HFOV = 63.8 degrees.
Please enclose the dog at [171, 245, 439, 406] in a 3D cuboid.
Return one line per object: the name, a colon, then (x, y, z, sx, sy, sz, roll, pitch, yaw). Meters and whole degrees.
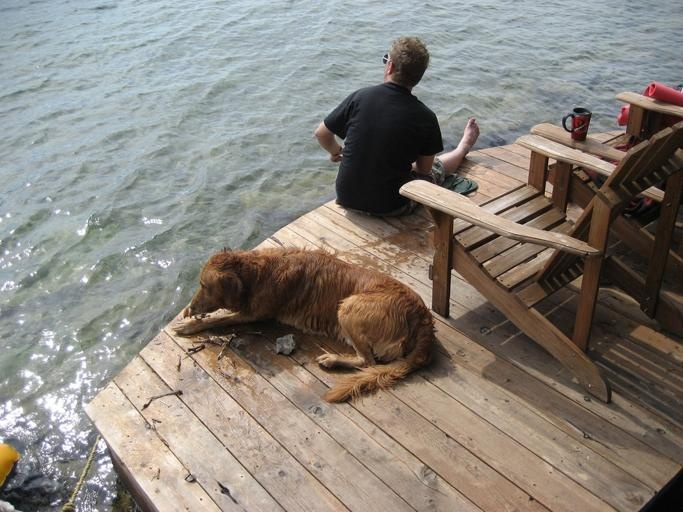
dog: (-0.455, 0.425, 4.814, 2.578, 0.651, 1.564, 12, 30, 42)
